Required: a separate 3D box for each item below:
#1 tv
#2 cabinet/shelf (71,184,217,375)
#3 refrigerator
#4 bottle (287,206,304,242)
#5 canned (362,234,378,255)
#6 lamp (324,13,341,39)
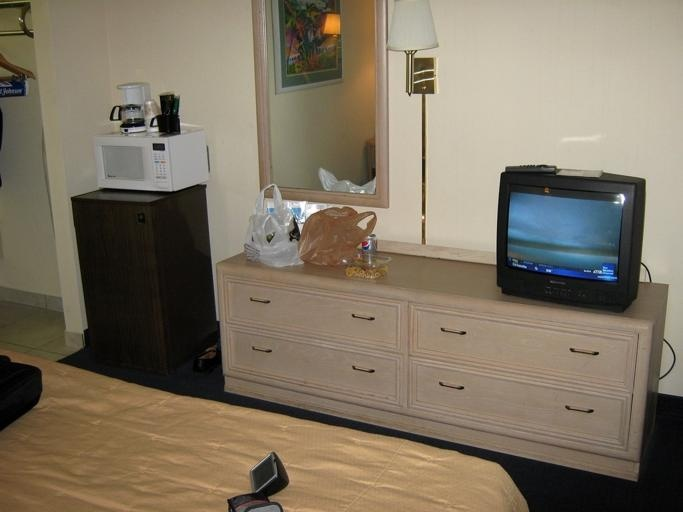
[{"bbox_3d":[1.158,-0.110,2.997,0.682,0.653,0.397,10,24,39],"label":"tv"},{"bbox_3d":[-1.321,0.111,4.104,0.666,1.154,0.750,7,16,22],"label":"cabinet/shelf"},{"bbox_3d":[-1.278,0.151,3.837,0.721,1.398,0.838,10,20,27],"label":"refrigerator"},{"bbox_3d":[-0.283,-0.189,3.529,0.076,0.241,0.099,6,11,40],"label":"bottle"},{"bbox_3d":[0.156,-0.067,3.391,0.089,0.160,0.091,2,11,6],"label":"canned"},{"bbox_3d":[-0.054,-1.350,3.477,0.113,0.121,0.109,-22,38,-31],"label":"lamp"}]
